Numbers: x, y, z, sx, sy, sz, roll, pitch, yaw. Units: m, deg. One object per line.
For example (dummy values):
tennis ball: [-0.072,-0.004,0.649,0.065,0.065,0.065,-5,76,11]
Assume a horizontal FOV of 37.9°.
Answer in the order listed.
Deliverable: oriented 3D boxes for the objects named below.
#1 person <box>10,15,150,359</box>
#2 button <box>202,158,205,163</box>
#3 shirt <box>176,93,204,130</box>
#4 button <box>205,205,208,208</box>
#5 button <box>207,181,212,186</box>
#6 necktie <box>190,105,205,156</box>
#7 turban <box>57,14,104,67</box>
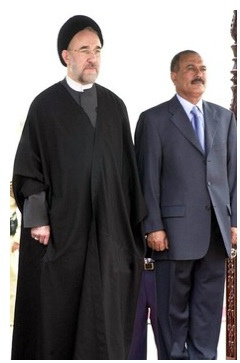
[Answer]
person: [-0.275,0.063,2.000,0.833,1.828,0.663,-10,-17,-3]
button: [0.481,-0.123,2.010,0.014,0.020,0.005,1,-7,-6]
shirt: [0.432,-0.432,2.168,0.134,0.192,0.048,-9,4,-11]
button: [0.495,0.143,2.008,0.016,0.012,0.016,-3,6,-42]
button: [0.515,0.012,2.013,0.015,0.021,0.008,7,9,-7]
necktie: [0.483,-0.316,2.078,0.080,0.299,0.024,-6,-17,-15]
turban: [-0.251,-0.800,1.981,0.257,0.270,0.075,-15,41,-31]
